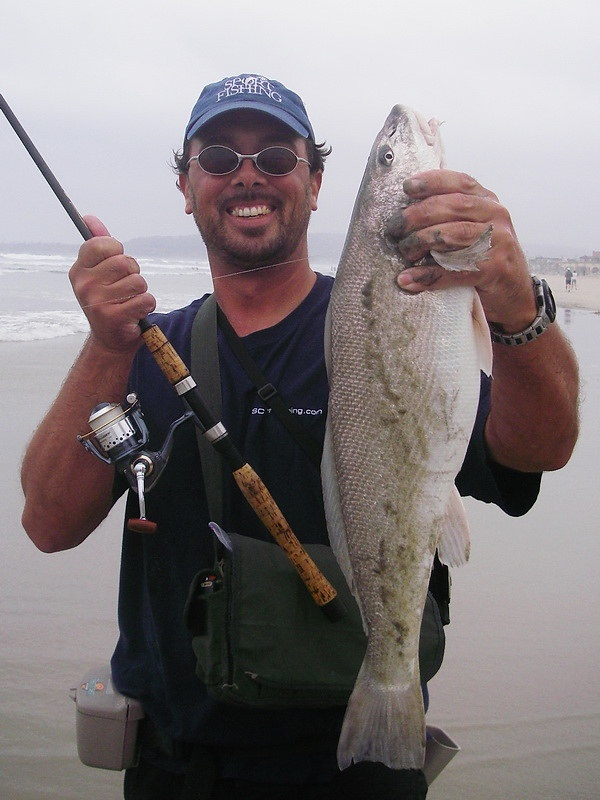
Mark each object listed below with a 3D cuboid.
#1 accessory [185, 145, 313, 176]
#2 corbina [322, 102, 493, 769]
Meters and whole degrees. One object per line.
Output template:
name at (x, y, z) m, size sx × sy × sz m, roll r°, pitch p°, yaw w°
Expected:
accessory at (-0.100, -0.502, 1.815) m, size 0.228 × 0.067 × 0.037 m, roll -3°, pitch 9°, yaw -7°
corbina at (0.214, 0.094, 1.717) m, size 0.345 × 1.328 × 0.154 m, roll -3°, pitch 10°, yaw 1°
